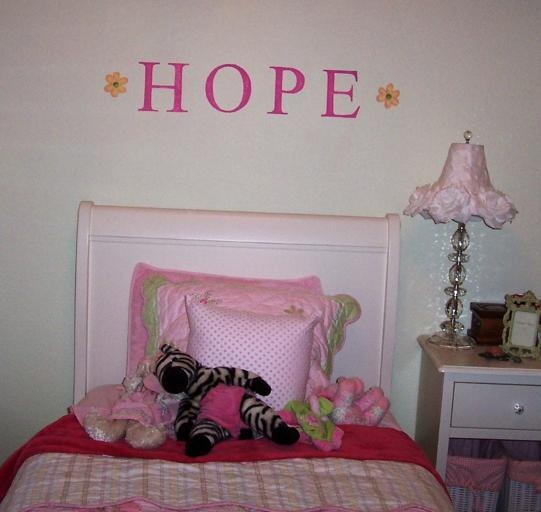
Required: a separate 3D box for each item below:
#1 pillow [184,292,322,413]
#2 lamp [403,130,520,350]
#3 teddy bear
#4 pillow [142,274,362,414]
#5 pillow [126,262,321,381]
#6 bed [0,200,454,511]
[{"bbox_3d":[-0.070,0.337,1.748,0.362,0.129,0.324,5,49,-2],"label":"pillow"},{"bbox_3d":[0.762,-0.069,2.122,0.430,0.864,0.364,3,12,-6],"label":"lamp"},{"bbox_3d":[-0.143,0.453,1.613,0.396,0.221,0.300,1,12,-19],"label":"teddy bear"},{"bbox_3d":[-0.082,0.231,2.069,0.823,0.235,0.542,-11,-2,18],"label":"pillow"},{"bbox_3d":[-0.193,0.249,1.890,0.459,0.308,0.100,3,-7,5],"label":"pillow"},{"bbox_3d":[-0.141,0.418,1.797,1.146,0.875,1.117,0,13,-1],"label":"bed"}]
